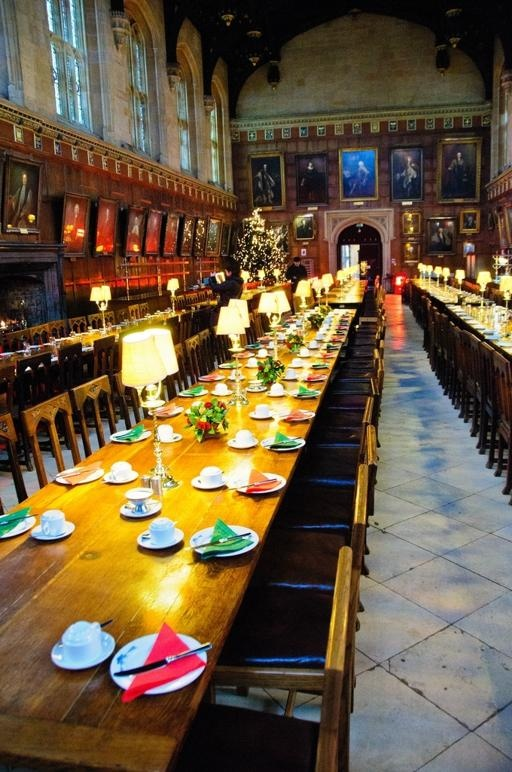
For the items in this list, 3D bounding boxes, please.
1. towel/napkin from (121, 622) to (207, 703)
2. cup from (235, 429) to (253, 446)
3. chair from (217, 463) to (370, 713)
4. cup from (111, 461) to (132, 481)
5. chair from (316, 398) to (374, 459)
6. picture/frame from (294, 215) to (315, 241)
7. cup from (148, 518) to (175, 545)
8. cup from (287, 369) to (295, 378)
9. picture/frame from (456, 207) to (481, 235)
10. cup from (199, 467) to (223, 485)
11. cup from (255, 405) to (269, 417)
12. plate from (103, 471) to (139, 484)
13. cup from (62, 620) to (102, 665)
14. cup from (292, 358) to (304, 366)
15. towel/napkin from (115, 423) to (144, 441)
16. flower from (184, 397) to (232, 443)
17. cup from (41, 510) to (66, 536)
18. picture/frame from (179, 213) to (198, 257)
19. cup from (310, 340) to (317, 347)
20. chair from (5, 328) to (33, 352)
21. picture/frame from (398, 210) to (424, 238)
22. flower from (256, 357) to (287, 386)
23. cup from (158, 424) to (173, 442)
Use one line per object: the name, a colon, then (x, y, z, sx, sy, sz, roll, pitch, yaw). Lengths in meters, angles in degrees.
towel/napkin: (-0.188, 0.547, 0.947, 0.138, 0.031, 0.204, 7, 13, 32)
cup: (-0.073, 0.271, 2.512, 0.068, 0.068, 0.093, -2, 2, 4)
chair: (0.113, 0.693, 1.663, 0.525, 0.950, 0.544, 5, 29, 12)
cup: (-0.617, 0.382, 2.189, 0.071, 0.060, 0.086, 0, -1, 10)
chair: (0.675, 0.320, 3.875, 0.329, 0.208, 0.879, 2, 14, 13)
picture/frame: (2.114, -6.869, 21.134, 1.029, 1.207, 0.161, 1, 9, 8)
cup: (-0.308, 0.466, 1.557, 0.062, 0.068, 0.085, -3, -2, 11)
cup: (0.304, -0.099, 4.143, 0.069, 0.052, 0.071, -4, 9, 1)
picture/frame: (9.009, -6.891, 20.298, 1.113, 1.498, 0.149, 0, 11, 8)
cup: (-0.197, 0.381, 2.040, 0.059, 0.058, 0.079, -1, -5, 3)
cup: (0.041, 0.165, 3.090, 0.071, 0.069, 0.074, -4, 22, 2)
plate: (-0.624, 0.418, 2.194, 0.078, 0.014, 0.079, 2, 10, 11)
cup: (-0.358, 0.518, 0.997, 0.060, 0.057, 0.082, -1, -2, 5)
cup: (0.392, -0.215, 4.622, 0.095, 0.044, 0.095, -2, 2, 0)
towel/napkin: (-0.751, 0.287, 2.869, 0.095, 0.020, 0.115, 8, 15, 16)
flower: (-0.277, 0.229, 2.736, 0.240, 0.168, 0.243, -5, 16, 15)
cup: (-0.705, 0.476, 1.661, 0.064, 0.069, 0.101, 5, 20, -4)
picture/frame: (-2.334, -5.040, 16.246, 0.202, 1.522, 1.402, 11, 22, 18)
cup: (0.672, -0.480, 5.714, 0.082, 0.041, 0.084, -4, 6, 1)
chair: (-3.310, -0.607, 6.657, 0.253, 0.452, 0.260, 8, 20, 18)
picture/frame: (6.638, -6.859, 20.570, 1.125, 1.533, 0.170, 0, 10, 7)
flower: (0.133, -0.105, 3.859, 0.222, 0.219, 0.230, 1, 1, 19)
cup: (-0.522, 0.273, 2.747, 0.083, 0.078, 0.082, -2, 12, 1)
